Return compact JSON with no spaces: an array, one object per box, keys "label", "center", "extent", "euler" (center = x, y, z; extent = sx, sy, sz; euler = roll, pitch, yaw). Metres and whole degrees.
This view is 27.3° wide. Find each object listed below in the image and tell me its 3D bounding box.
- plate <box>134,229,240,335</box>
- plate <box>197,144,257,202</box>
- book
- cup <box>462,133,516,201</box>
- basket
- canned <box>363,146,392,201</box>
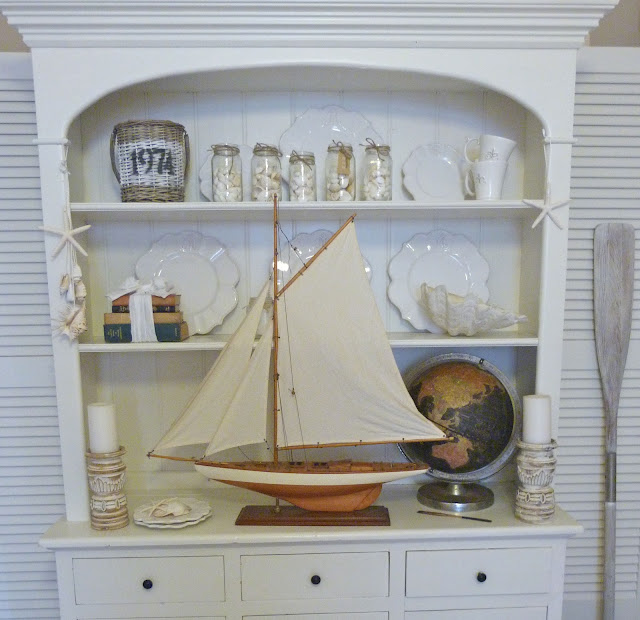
[{"label":"plate","center":[-0.384,-0.097,4.022],"extent":[0.320,0.320,0.049],"euler":[-4,5,3]},{"label":"plate","center":[-0.279,-0.401,3.998],"extent":[0.175,0.289,0.174],"euler":[0,-2,-1]},{"label":"book","center":[-0.510,0.030,3.838],"extent":[0.171,0.108,0.165],"euler":[-1,-3,-5]},{"label":"cup","center":[0.493,-0.421,3.977],"extent":[0.116,0.200,0.235],"euler":[-3,3,-23]},{"label":"basket","center":[-0.490,-0.435,3.867],"extent":[0.201,0.236,0.245],"euler":[-1,-1,-4]},{"label":"canned","center":[0.172,-0.409,3.934],"extent":[0.090,0.164,0.079],"euler":[-1,3,10]}]
